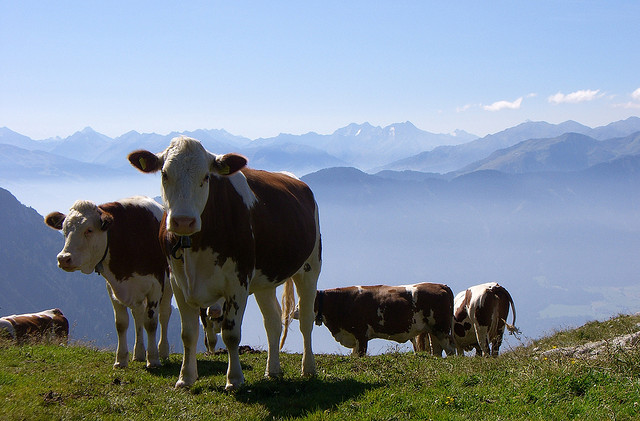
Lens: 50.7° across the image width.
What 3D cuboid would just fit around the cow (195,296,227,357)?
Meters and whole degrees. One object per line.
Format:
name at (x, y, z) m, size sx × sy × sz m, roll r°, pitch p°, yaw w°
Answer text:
cow at (-3.719, 4.023, 23.422) m, size 1.255 × 2.307 × 4.218 m, roll -1°, pitch -19°, yaw -9°

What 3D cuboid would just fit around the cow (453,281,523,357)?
cow at (7.401, 5.110, 30.970) m, size 1.491 × 3.592 × 2.474 m, roll -6°, pitch 7°, yaw -37°
